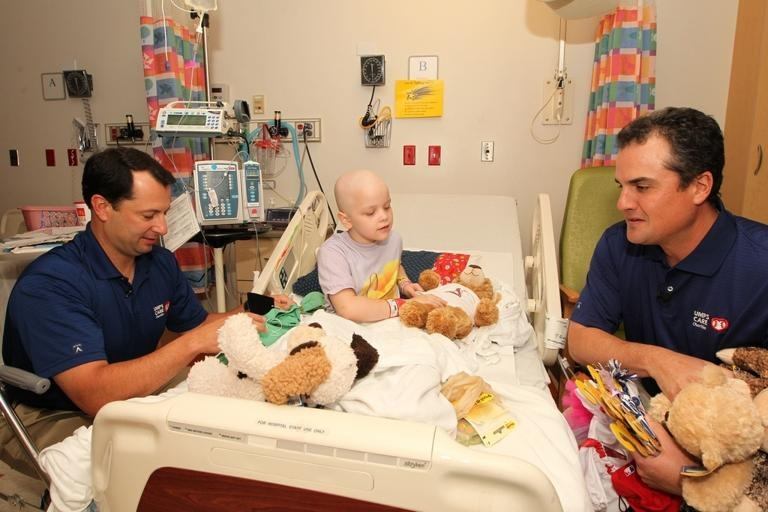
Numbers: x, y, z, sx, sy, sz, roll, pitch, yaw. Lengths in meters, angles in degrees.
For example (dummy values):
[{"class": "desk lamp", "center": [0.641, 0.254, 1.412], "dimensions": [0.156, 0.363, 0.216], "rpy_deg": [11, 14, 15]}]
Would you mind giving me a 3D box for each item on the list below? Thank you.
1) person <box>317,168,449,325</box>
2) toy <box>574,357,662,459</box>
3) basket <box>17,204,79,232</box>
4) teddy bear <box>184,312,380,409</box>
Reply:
[{"class": "person", "center": [-0.008, -0.028, 2.661], "dimensions": [0.592, 0.795, 0.716], "rpy_deg": [-1, 20, 7]}, {"class": "toy", "center": [0.787, 0.556, 1.905], "dimensions": [0.111, 0.279, 0.310], "rpy_deg": [-34, 41, 12]}, {"class": "basket", "center": [-2.208, -0.262, 3.439], "dimensions": [0.281, 0.106, 0.201], "rpy_deg": [-9, 15, -43]}, {"class": "teddy bear", "center": [-0.330, 0.376, 1.829], "dimensions": [0.529, 0.164, 0.356], "rpy_deg": [-6, 34, -24]}]
